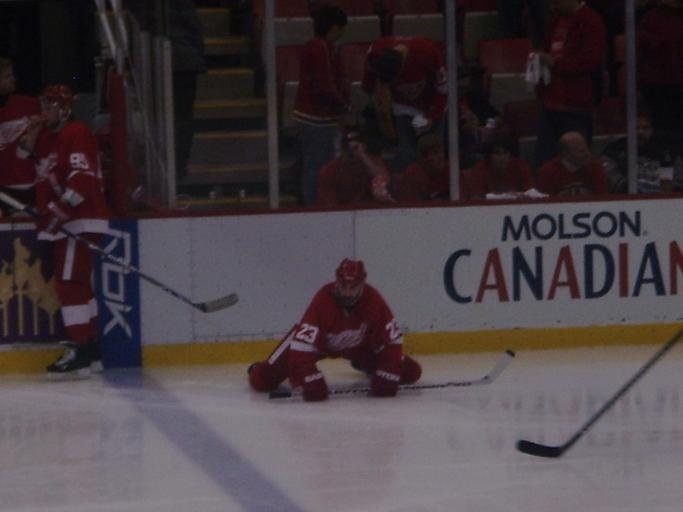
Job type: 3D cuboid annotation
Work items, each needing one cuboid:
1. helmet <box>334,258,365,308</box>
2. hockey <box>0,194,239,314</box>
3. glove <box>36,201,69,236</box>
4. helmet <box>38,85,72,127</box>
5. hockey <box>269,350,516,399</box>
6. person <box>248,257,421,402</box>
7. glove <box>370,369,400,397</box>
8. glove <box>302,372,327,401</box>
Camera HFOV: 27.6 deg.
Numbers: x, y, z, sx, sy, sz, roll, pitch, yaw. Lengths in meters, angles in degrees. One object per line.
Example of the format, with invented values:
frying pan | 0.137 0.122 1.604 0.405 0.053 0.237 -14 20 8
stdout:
helmet | 0.065 0.145 8.575 0.200 0.270 0.272 3 37 3
hockey | -1.528 -0.009 9.309 1.178 0.082 0.277 29 -30 -8
glove | -1.892 -0.270 9.077 0.225 0.174 0.087 -42 11 9
helmet | -1.907 -1.024 9.260 0.247 0.318 0.232 0 4 -35
hockey | 0.305 0.751 8.810 1.720 0.262 0.117 -4 18 -11
person | -0.040 0.426 8.884 1.128 0.907 1.134 0 13 -6
glove | 0.278 0.780 8.655 0.166 0.156 0.142 6 -1 6
glove | -0.161 0.802 8.515 0.175 0.184 0.128 -1 0 -10
